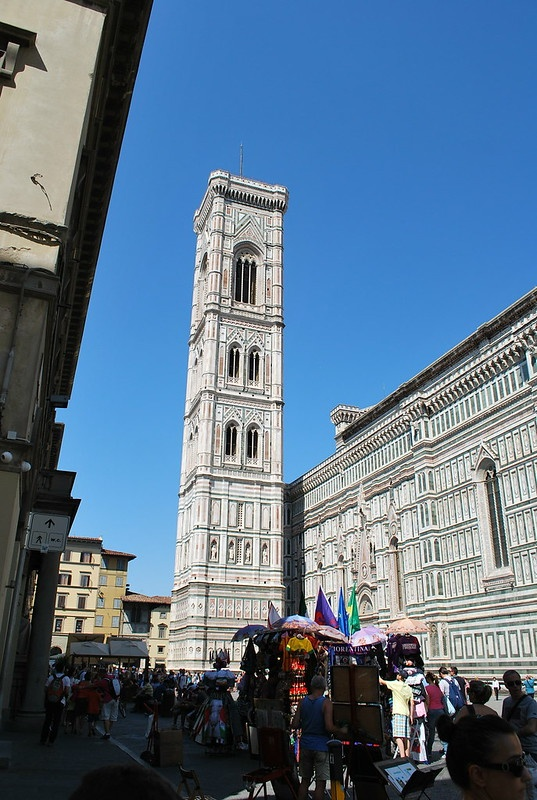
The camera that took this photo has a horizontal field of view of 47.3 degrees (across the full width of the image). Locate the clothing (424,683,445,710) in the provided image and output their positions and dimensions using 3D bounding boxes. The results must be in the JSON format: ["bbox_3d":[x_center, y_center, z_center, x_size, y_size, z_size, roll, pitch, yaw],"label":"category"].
[{"bbox_3d":[3.155,5.714,11.689,0.419,0.421,0.234,12,-45,-15],"label":"clothing"}]

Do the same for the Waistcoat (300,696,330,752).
[{"bbox_3d":[0.479,3.346,6.247,0.324,0.479,0.247,-22,-43,32],"label":"Waistcoat"}]

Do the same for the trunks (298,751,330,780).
[{"bbox_3d":[0.470,3.689,6.154,0.290,0.298,0.168,-23,-44,33],"label":"trunks"}]

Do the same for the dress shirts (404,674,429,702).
[{"bbox_3d":[2.783,5.398,11.438,0.398,0.522,0.183,1,-4,-14],"label":"dress shirts"}]
